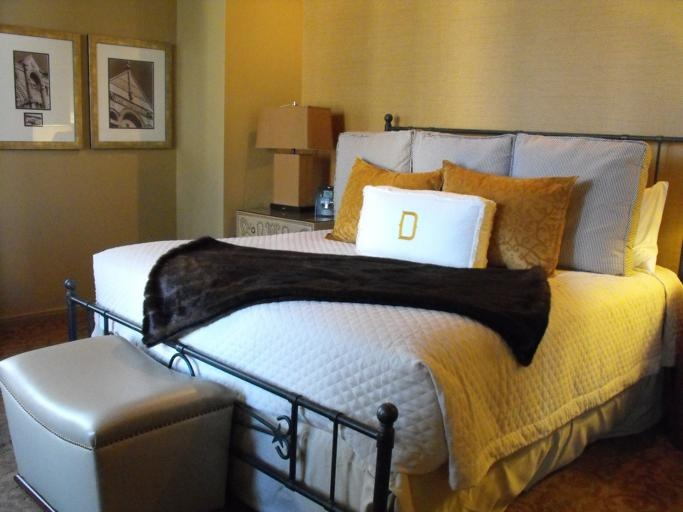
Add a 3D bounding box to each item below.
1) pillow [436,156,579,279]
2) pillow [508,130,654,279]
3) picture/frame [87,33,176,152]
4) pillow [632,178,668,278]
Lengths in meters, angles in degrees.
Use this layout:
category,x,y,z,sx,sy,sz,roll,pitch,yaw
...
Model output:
category,x,y,z,sx,sy,sz,roll,pitch,yaw
pillow,0.778,-0.155,2.540,0.454,0.367,0.166,18,25,39
pillow,1.127,-0.212,2.603,0.185,0.584,0.529,5,7,-39
picture/frame,-1.604,-1.249,4.155,0.811,1.081,0.068,-6,15,-40
pillow,1.521,-0.158,2.745,0.107,0.411,0.314,4,-2,35
